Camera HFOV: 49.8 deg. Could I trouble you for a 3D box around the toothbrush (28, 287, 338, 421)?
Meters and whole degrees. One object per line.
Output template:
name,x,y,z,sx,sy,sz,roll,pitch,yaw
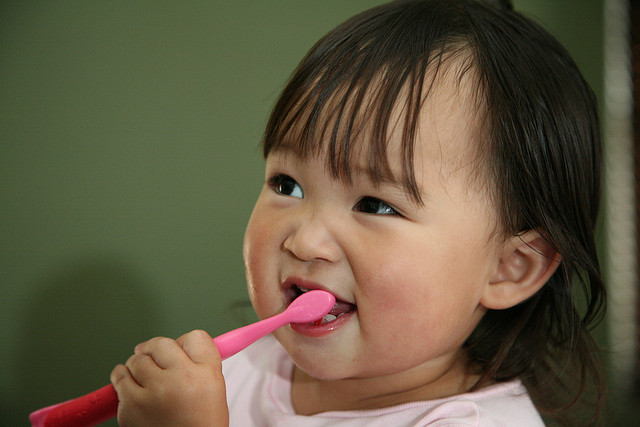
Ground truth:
toothbrush,-0.310,0.342,1.667,0.655,0.115,0.079,-30,-36,5
